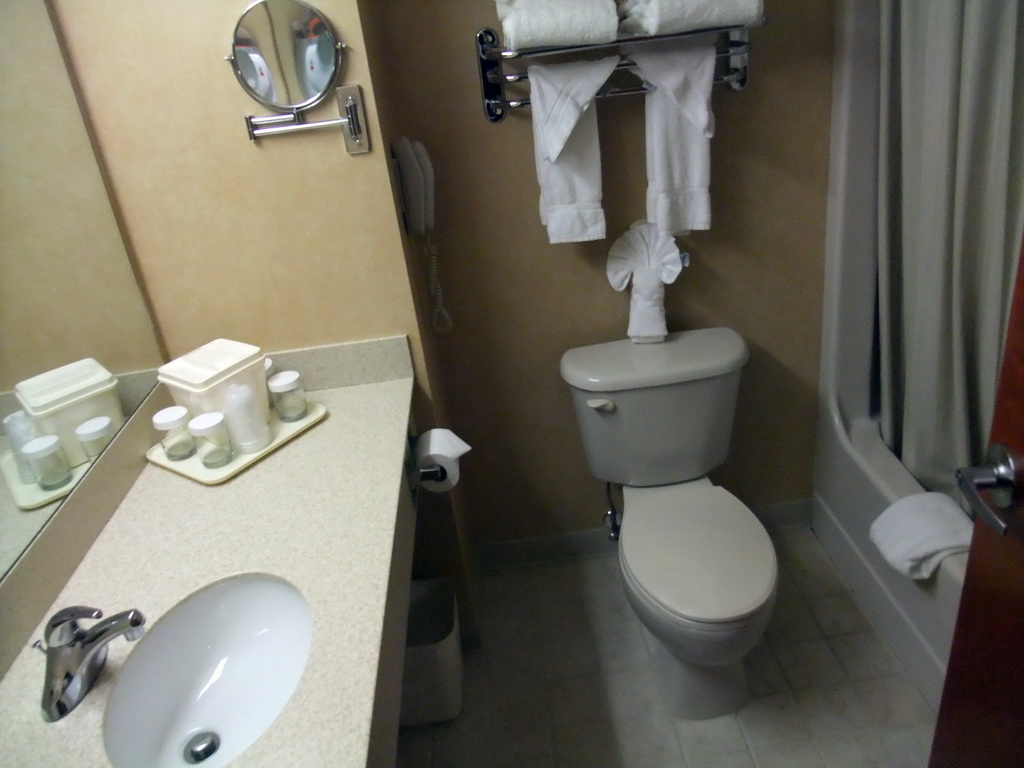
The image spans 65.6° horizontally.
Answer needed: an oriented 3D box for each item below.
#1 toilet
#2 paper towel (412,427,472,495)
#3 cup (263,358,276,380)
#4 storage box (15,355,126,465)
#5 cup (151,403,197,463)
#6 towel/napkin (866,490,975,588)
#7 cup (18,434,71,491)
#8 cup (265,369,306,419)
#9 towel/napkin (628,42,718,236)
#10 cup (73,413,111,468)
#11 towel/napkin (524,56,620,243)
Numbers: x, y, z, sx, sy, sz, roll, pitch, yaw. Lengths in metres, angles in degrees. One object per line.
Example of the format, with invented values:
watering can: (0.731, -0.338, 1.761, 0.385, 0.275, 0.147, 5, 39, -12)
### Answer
toilet: (0.447, 0.380, 2.253, 0.482, 0.846, 0.812, -9, 42, 1)
paper towel: (-0.181, 0.191, 2.073, 0.130, 0.162, 0.180, 9, 13, -8)
cup: (-0.611, -0.044, 2.016, 0.040, 0.041, 0.043, 13, 38, -10)
storage box: (-0.906, 0.055, 1.622, 0.092, 0.157, 0.155, 12, 37, 16)
cup: (-0.764, 0.113, 1.811, 0.065, 0.104, 0.069, 5, 40, -4)
towel/napkin: (1.088, 0.407, 2.081, 0.231, 0.180, 0.206, -11, 31, -7)
cup: (-0.901, 0.139, 1.561, 0.077, 0.088, 0.076, 1, 32, -1)
cup: (-0.537, 0.029, 1.962, 0.092, 0.108, 0.106, 0, 40, 0)
towel/napkin: (0.421, -0.626, 2.091, 0.204, 0.458, 0.172, 1, 30, 13)
cup: (-0.885, 0.119, 1.705, 0.066, 0.075, 0.071, 12, 36, -9)
towel/napkin: (0.157, -0.638, 2.098, 0.279, 0.524, 0.250, -10, 33, -4)
